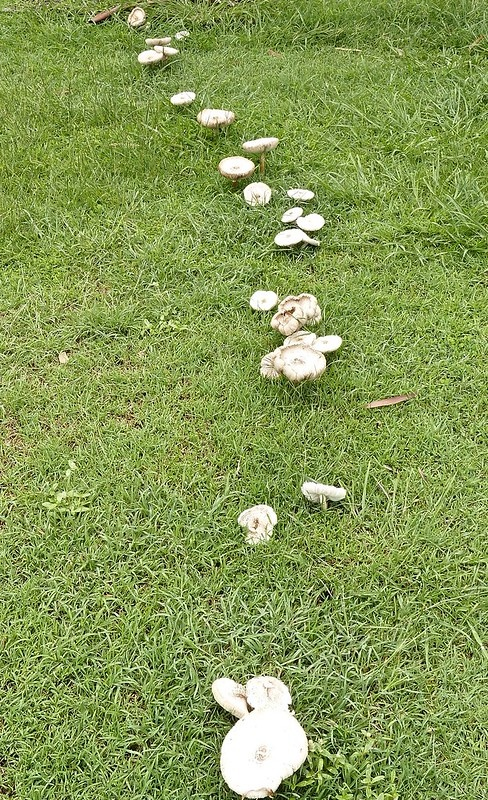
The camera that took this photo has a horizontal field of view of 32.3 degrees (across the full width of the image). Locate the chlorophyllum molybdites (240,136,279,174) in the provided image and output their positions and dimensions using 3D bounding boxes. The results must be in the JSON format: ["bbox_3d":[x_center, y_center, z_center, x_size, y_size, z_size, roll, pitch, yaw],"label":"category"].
[{"bbox_3d":[0.108,-1.596,5.494,0.238,0.254,0.237,6,34,5],"label":"chlorophyllum molybdites"}]

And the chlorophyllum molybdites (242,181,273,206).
[{"bbox_3d":[0.086,-1.317,5.409,0.180,0.123,0.171,-6,26,1],"label":"chlorophyllum molybdites"}]

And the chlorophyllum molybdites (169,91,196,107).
[{"bbox_3d":[-0.444,-2.198,6.175,0.192,0.091,0.238,-7,25,-3],"label":"chlorophyllum molybdites"}]

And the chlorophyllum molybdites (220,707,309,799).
[{"bbox_3d":[0.069,1.239,2.877,0.303,0.231,0.250,-17,28,-21],"label":"chlorophyllum molybdites"}]

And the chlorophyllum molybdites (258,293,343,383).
[{"bbox_3d":[0.295,-0.245,4.338,0.382,0.182,0.483,-27,44,-1],"label":"chlorophyllum molybdites"}]

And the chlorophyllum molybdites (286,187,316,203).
[{"bbox_3d":[0.361,-1.295,5.388,0.176,0.087,0.176,-3,26,6],"label":"chlorophyllum molybdites"}]

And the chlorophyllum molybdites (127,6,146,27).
[{"bbox_3d":[-0.954,-3.417,7.512,0.148,0.200,0.078,5,0,18],"label":"chlorophyllum molybdites"}]

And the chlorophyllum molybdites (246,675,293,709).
[{"bbox_3d":[0.084,1.053,3.022,0.155,0.056,0.149,-8,26,-5],"label":"chlorophyllum molybdites"}]

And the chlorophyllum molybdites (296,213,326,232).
[{"bbox_3d":[0.413,-1.076,5.185,0.171,0.109,0.250,-4,26,5],"label":"chlorophyllum molybdites"}]

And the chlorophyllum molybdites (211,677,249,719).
[{"bbox_3d":[-0.041,1.063,3.023,0.138,0.033,0.141,46,15,24],"label":"chlorophyllum molybdites"}]

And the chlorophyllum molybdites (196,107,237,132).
[{"bbox_3d":[-0.199,-1.958,5.892,0.256,0.138,0.288,-7,26,-2],"label":"chlorophyllum molybdites"}]

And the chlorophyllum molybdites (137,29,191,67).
[{"bbox_3d":[-0.686,-2.852,6.862,0.343,0.180,0.485,10,48,9],"label":"chlorophyllum molybdites"}]

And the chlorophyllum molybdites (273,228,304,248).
[{"bbox_3d":[0.278,-0.958,5.068,0.190,0.131,0.253,-5,26,2],"label":"chlorophyllum molybdites"}]
